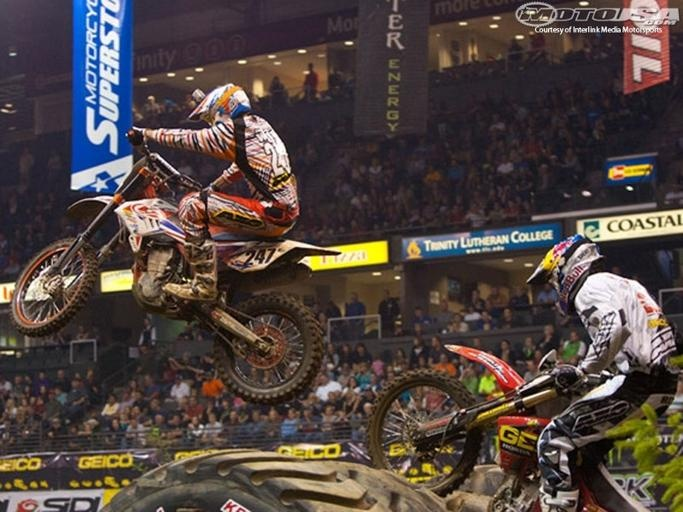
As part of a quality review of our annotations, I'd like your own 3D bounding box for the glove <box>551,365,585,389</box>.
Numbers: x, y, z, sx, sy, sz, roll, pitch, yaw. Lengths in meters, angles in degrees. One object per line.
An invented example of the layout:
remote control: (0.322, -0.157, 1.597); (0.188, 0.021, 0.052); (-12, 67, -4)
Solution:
glove: (3.874, 2.043, 25.411); (0.461, 0.375, 0.355); (-33, 7, 25)
